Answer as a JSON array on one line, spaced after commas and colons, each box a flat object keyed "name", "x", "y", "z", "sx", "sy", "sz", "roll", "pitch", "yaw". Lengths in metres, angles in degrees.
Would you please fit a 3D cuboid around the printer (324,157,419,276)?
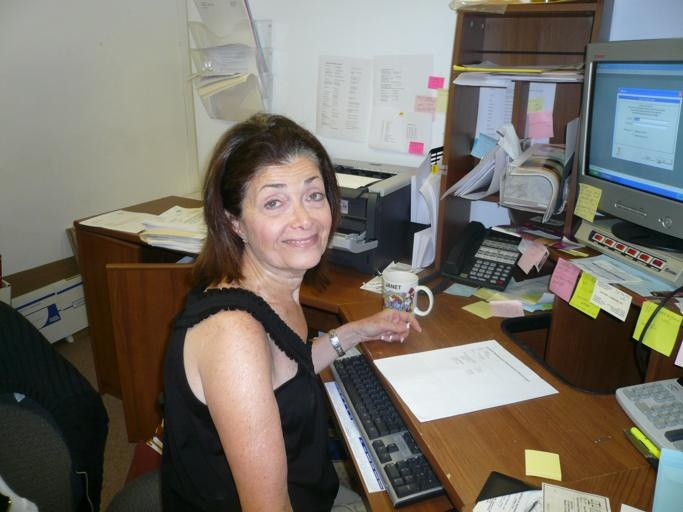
[{"name": "printer", "x": 0.113, "y": -0.210, "z": 1.926, "sx": 0.421, "sy": 0.340, "sz": 0.412, "roll": 12, "pitch": 20, "yaw": 37}]

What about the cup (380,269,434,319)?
[{"name": "cup", "x": 0.192, "y": 0.111, "z": 1.513, "sx": 0.178, "sy": 0.135, "sz": 0.111, "roll": 19, "pitch": 25, "yaw": 37}]

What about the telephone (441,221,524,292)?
[{"name": "telephone", "x": 0.553, "y": -0.029, "z": 1.753, "sx": 0.224, "sy": 0.292, "sz": 0.096, "roll": 9, "pitch": 29, "yaw": -13}]

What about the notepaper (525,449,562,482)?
[{"name": "notepaper", "x": 0.429, "y": 0.446, "z": 0.993, "sx": 0.074, "sy": 0.015, "sz": 0.066, "roll": 7, "pitch": 23, "yaw": 14}]
